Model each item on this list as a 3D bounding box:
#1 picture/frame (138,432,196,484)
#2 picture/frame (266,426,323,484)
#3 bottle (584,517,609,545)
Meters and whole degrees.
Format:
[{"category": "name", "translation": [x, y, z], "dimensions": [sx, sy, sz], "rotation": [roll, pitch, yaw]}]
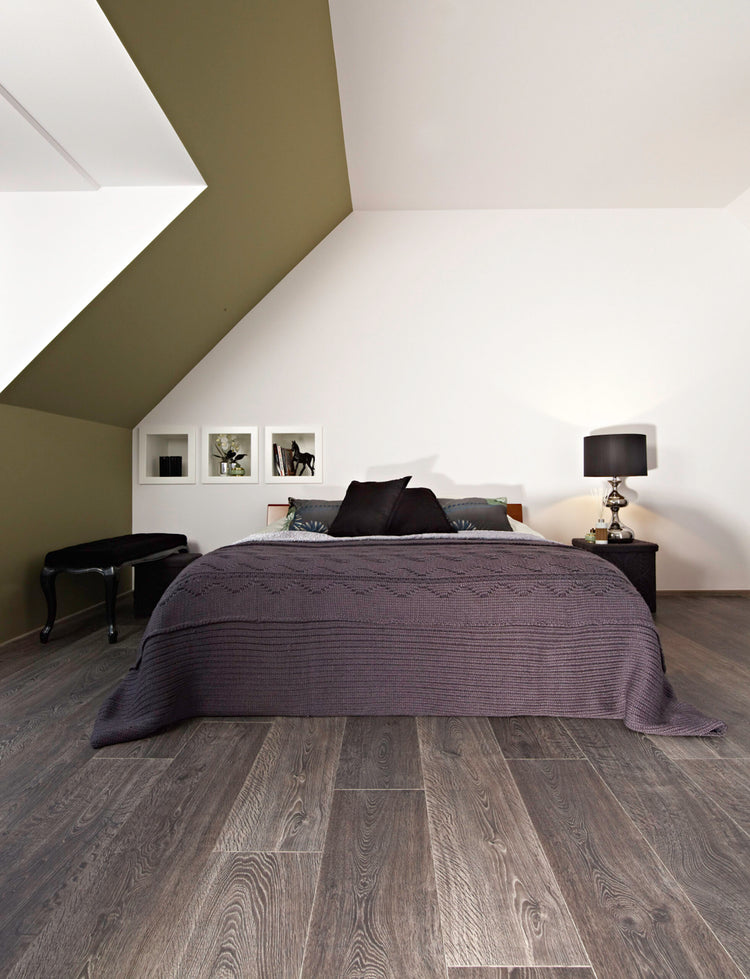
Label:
[{"category": "picture/frame", "translation": [-1.399, -0.189, 4.792], "dimensions": [0.345, 0.409, 0.291], "rotation": [-1, -3, -8]}, {"category": "picture/frame", "translation": [-0.542, -0.216, 4.649], "dimensions": [0.340, 0.378, 0.025], "rotation": [0, -2, -9]}, {"category": "bottle", "translation": [1.313, 0.266, 4.149], "dimensions": [0.102, 0.198, 0.194], "rotation": [3, 0, 14]}]
